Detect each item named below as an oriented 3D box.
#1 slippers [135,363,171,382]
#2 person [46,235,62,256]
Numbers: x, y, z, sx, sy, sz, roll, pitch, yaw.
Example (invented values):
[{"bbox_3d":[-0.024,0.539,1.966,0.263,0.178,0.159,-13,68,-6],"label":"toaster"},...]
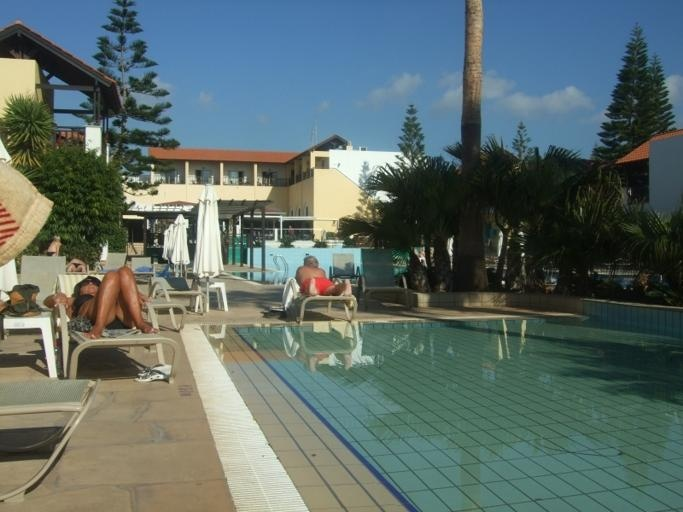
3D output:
[{"bbox_3d":[-1.864,1.128,5.764,0.400,0.167,0.145,0,-3,-19],"label":"slippers"},{"bbox_3d":[-7.529,-0.303,15.444,0.274,0.529,1.322,0,0,-26],"label":"person"}]
